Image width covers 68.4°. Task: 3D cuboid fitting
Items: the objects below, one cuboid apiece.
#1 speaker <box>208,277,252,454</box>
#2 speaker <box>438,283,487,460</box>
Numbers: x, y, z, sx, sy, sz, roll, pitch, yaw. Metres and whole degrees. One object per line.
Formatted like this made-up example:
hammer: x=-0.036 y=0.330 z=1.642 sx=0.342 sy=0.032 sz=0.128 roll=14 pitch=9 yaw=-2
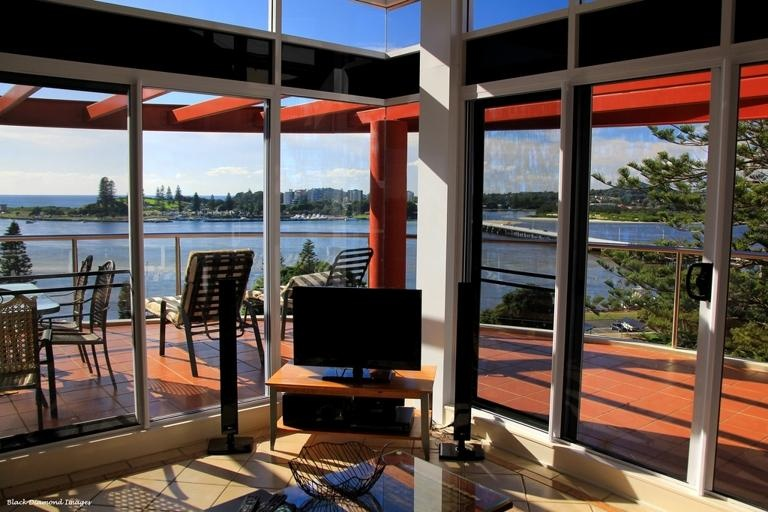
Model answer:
speaker: x=-1.466 y=1.029 z=5.342 sx=0.419 sy=1.600 sz=0.339 roll=-2 pitch=4 yaw=-13
speaker: x=0.725 y=1.052 z=5.247 sx=0.405 sy=1.626 sz=0.341 roll=0 pitch=4 yaw=9
